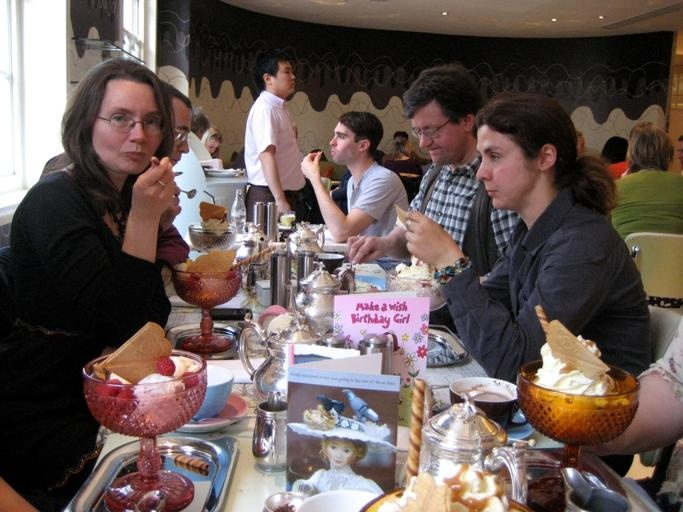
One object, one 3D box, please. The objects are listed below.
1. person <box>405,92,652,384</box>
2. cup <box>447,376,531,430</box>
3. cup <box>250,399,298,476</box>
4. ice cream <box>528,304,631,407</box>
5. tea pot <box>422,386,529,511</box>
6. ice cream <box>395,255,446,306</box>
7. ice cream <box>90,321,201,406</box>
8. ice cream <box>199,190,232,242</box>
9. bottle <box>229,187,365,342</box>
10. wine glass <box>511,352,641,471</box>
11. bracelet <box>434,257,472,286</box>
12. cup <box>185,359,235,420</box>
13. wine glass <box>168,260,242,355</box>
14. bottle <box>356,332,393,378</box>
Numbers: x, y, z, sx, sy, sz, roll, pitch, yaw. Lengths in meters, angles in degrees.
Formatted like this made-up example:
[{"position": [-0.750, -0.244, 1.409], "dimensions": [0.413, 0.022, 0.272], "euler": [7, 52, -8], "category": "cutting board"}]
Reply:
[{"position": [0.551, -0.209, 2.177], "dimensions": [0.818, 1.609, 0.723], "euler": [1, 11, 9], "category": "person"}, {"position": [0.337, 0.336, 1.191], "dimensions": [0.087, 0.051, 0.110], "euler": [-1, 2, 35], "category": "cup"}, {"position": [-0.143, 0.354, 1.050], "dimensions": [0.071, 0.138, 0.058], "euler": [0, 13, -4], "category": "cup"}, {"position": [0.425, 0.187, 1.027], "dimensions": [0.138, 0.165, 0.149], "euler": [-8, 17, -18], "category": "ice cream"}, {"position": [0.196, 0.289, 0.900], "dimensions": [0.123, 0.213, 0.205], "euler": [-2, 10, -16], "category": "tea pot"}, {"position": [0.257, 0.080, 1.769], "dimensions": [0.137, 0.103, 0.144], "euler": [0, -1, 0], "category": "ice cream"}, {"position": [-0.370, 0.204, 1.020], "dimensions": [0.132, 0.050, 0.138], "euler": [22, 36, 8], "category": "ice cream"}, {"position": [-0.546, -0.154, 2.360], "dimensions": [0.130, 0.239, 0.148], "euler": [-7, 7, -25], "category": "ice cream"}, {"position": [-0.148, 0.109, 1.610], "dimensions": [0.322, 0.343, 0.178], "euler": [4, 0, -16], "category": "bottle"}, {"position": [0.450, 0.335, 1.068], "dimensions": [0.215, 0.221, 0.180], "euler": [1, 13, 0], "category": "wine glass"}, {"position": [0.337, 0.046, 1.645], "dimensions": [0.095, 0.048, 0.086], "euler": [-35, -1, 16], "category": "bracelet"}, {"position": [-0.300, 0.307, 1.231], "dimensions": [0.099, 0.086, 0.114], "euler": [1, 1, 0], "category": "cup"}, {"position": [-0.434, 0.170, 1.736], "dimensions": [0.233, 0.267, 0.232], "euler": [-2, 6, -20], "category": "wine glass"}, {"position": [0.060, 0.206, 1.113], "dimensions": [0.074, 0.089, 0.076], "euler": [0, 2, -1], "category": "bottle"}]
